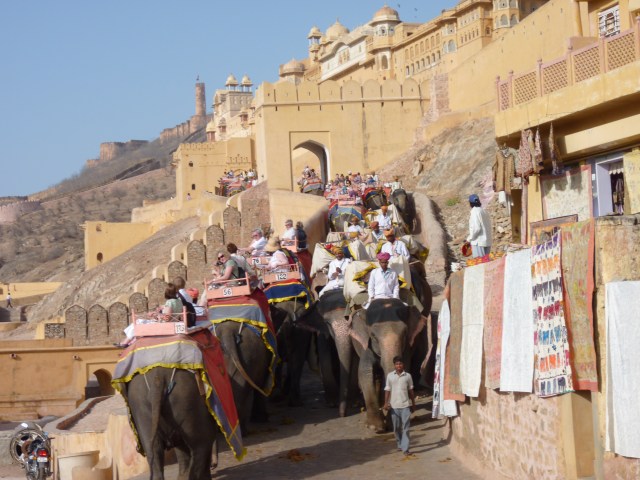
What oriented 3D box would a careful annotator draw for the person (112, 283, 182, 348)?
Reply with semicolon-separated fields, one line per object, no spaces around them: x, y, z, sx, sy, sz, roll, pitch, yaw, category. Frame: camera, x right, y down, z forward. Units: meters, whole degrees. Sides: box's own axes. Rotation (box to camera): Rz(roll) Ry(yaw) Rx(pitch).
-2.499;1.088;15.169;1.192;0.735;0.556;-16;23;-18;person

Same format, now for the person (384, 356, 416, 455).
1.118;2.340;15.578;0.356;1.381;0.476;-1;-4;-23;person

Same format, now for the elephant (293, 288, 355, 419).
0.134;1.897;18.932;0.837;2.117;1.461;-2;-3;-9;elephant

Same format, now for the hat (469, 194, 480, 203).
2.607;-0.696;18.810;0.200;0.150;0.298;-1;2;1;hat

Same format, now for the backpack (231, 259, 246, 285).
-1.302;0.490;17.417;0.191;0.389;0.375;-5;-4;34;backpack

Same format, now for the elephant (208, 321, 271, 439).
-1.190;2.163;17.286;0.604;1.817;0.783;-4;-4;24;elephant

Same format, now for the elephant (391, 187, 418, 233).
2.522;-0.923;33.185;0.600;1.014;1.872;-5;-8;6;elephant

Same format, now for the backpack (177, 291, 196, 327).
-1.853;0.968;15.311;0.311;0.399;0.163;-1;-4;12;backpack

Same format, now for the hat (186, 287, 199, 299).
-2.049;0.789;17.343;0.226;0.128;0.300;2;-11;0;hat

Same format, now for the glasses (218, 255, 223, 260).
-1.585;0.263;17.302;0.091;0.058;0.065;-2;-4;-3;glasses

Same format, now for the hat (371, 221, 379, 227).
1.092;-0.338;22.488;0.257;0.089;0.286;-1;-3;5;hat

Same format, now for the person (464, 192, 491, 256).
2.697;-0.247;18.872;0.388;1.064;0.680;-3;-3;8;person
